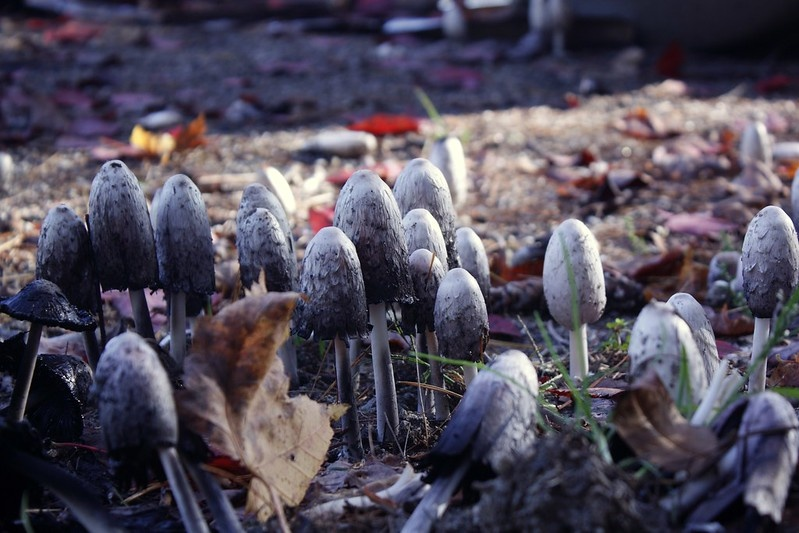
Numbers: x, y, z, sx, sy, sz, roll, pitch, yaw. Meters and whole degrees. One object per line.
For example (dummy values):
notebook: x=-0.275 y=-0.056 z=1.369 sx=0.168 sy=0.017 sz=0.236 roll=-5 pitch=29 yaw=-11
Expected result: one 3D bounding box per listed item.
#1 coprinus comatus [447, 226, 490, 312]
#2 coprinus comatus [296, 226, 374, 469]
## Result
coprinus comatus: x=0.322 y=0.012 z=3.410 sx=0.148 sy=0.309 sz=0.160 roll=-15 pitch=-2 yaw=7
coprinus comatus: x=-0.235 y=0.293 z=2.982 sx=0.269 sy=0.865 sz=0.184 roll=-8 pitch=18 yaw=-6
